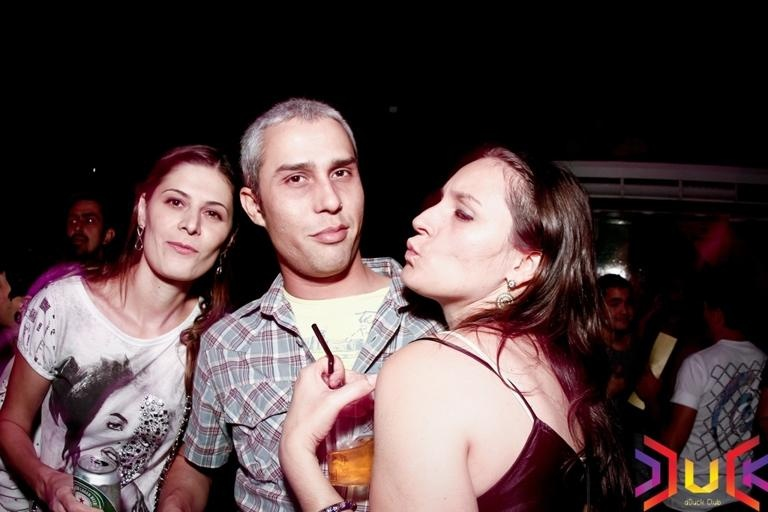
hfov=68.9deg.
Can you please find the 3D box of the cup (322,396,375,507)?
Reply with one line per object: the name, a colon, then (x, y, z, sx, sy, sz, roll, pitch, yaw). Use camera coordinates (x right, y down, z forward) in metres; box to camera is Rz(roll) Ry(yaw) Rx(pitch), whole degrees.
cup: (-0.217, 1.209, 3.418, 0.286, 0.579, 0.416, 1, 12, -4)
